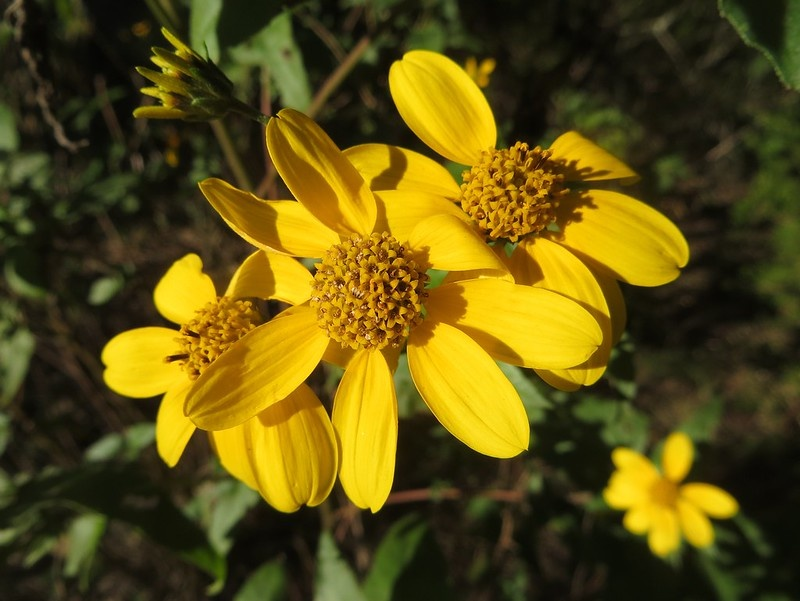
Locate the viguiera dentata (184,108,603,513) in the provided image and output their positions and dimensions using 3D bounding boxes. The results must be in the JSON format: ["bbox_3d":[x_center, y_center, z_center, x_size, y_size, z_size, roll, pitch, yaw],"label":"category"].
[{"bbox_3d":[-0.127,0.116,2.338,1.182,0.219,0.910,34,82,4],"label":"viguiera dentata"}]

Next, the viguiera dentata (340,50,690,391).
[{"bbox_3d":[0.223,-0.090,2.725,1.029,0.436,1.015,43,46,13],"label":"viguiera dentata"}]
